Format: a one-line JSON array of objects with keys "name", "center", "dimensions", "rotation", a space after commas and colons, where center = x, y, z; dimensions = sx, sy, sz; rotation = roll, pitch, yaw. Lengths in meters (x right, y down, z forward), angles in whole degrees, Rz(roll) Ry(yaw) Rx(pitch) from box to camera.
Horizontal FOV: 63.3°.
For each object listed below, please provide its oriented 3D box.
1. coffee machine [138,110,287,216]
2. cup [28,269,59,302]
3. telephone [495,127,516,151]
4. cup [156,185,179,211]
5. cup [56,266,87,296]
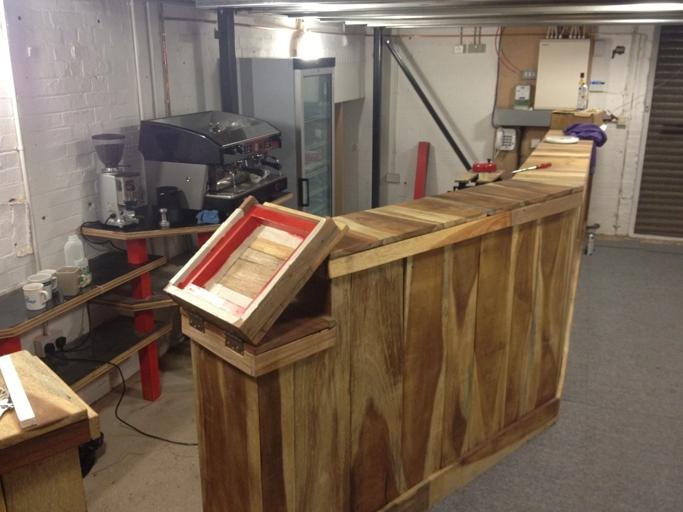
[{"name": "coffee machine", "center": [-1.047, -0.787, 4.595], "dimensions": [0.932, 0.780, 1.062], "rotation": [5, 18, 16]}, {"name": "cup", "center": [-1.891, 0.188, 3.565], "dimensions": [0.232, 0.160, 0.148], "rotation": [6, 19, 8]}, {"name": "telephone", "center": [2.181, -1.523, 7.341], "dimensions": [0.299, 0.273, 0.071], "rotation": [9, 5, 33]}, {"name": "cup", "center": [-1.357, -0.450, 4.358], "dimensions": [0.181, 0.177, 0.175], "rotation": [3, 11, -1]}, {"name": "cup", "center": [-1.756, 0.161, 3.611], "dimensions": [0.176, 0.145, 0.194], "rotation": [-4, 20, -10]}]
